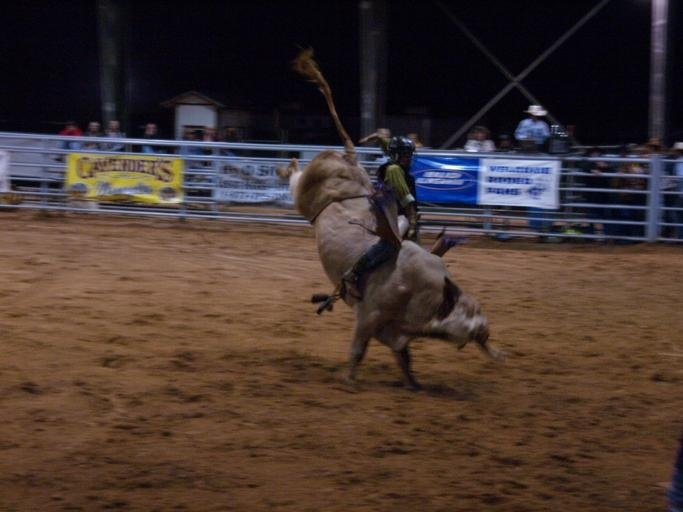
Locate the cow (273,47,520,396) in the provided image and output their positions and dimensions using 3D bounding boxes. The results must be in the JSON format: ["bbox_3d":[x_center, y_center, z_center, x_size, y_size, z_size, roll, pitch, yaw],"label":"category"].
[{"bbox_3d":[0.521,-0.481,11.792,2.584,4.228,0.876,6,6,33],"label":"cow"}]

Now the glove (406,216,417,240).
[{"bbox_3d":[1.046,-0.343,13.947,0.173,0.369,0.168,-2,31,3],"label":"glove"}]
